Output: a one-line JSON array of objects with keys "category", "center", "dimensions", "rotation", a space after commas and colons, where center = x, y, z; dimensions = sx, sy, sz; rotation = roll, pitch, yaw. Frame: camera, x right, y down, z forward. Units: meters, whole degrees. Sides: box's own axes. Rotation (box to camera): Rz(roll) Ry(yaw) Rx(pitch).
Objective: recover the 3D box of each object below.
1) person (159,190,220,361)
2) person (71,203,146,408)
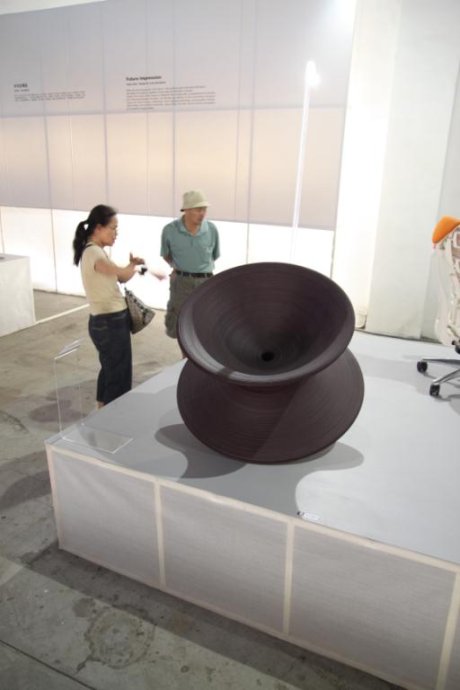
[{"category": "person", "center": [-0.278, -0.525, 3.325], "dimensions": [0.400, 1.034, 0.342], "rotation": [0, 15, -3]}, {"category": "person", "center": [-0.627, -0.155, 2.533], "dimensions": [0.346, 1.118, 0.295], "rotation": [-4, 16, -18]}]
